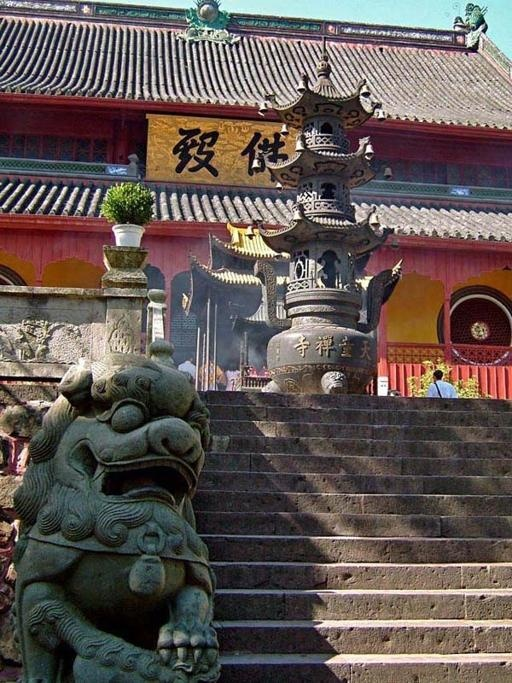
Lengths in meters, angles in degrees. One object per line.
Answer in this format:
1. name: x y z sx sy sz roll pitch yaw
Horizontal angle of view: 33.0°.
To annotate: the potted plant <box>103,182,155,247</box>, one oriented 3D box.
1. potted plant: -1.106 -1.065 7.514 0.472 0.506 0.420 -1 -5 8
